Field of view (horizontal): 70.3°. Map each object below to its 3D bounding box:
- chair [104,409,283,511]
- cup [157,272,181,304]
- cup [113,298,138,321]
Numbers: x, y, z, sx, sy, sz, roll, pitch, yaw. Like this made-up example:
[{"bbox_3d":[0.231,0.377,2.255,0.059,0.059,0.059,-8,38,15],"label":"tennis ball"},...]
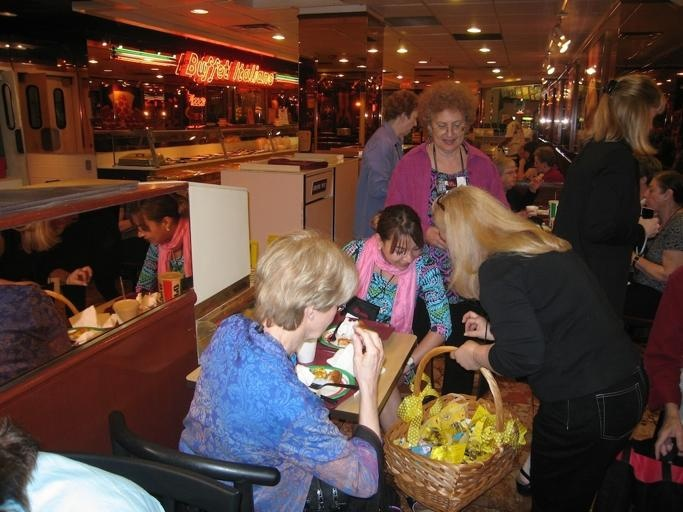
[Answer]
[{"bbox_3d":[-0.431,0.532,1.537,0.375,0.415,0.316,11,22,15],"label":"chair"},{"bbox_3d":[-0.744,0.132,2.091,0.111,0.110,0.106,2,5,0],"label":"cup"},{"bbox_3d":[-0.832,0.210,1.873,0.076,0.054,0.074,5,9,-1],"label":"cup"}]
